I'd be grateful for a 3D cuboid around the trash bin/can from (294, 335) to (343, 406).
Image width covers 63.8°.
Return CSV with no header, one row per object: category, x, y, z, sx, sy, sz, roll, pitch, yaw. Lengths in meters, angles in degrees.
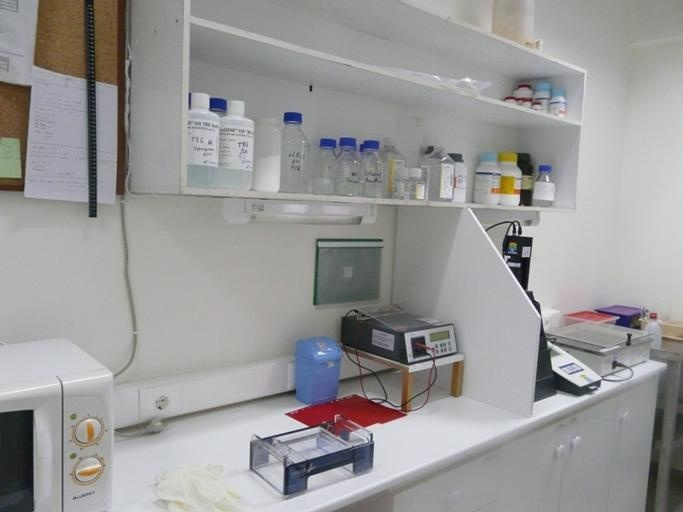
trash bin/can,-0.099,0.479,2.312,0.176,0.250,0.114,-5,15,-26
